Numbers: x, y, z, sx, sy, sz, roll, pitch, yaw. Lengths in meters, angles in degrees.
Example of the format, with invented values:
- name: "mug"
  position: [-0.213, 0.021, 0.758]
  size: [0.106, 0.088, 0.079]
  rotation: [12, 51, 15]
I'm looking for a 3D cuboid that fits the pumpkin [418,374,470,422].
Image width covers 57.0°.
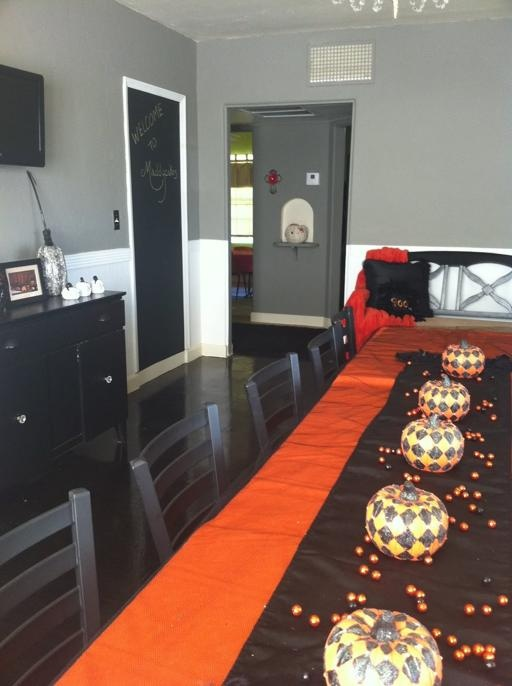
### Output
- name: "pumpkin"
  position: [0.603, 0.154, 1.514]
  size: [0.154, 0.184, 0.169]
  rotation: [-1, 4, 1]

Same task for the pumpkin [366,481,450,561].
- name: "pumpkin"
  position: [0.257, 0.281, 0.820]
  size: [0.124, 0.132, 0.136]
  rotation: [-1, 5, 7]

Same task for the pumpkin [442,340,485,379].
- name: "pumpkin"
  position: [0.830, 0.055, 1.914]
  size: [0.137, 0.162, 0.147]
  rotation: [0, 7, 28]

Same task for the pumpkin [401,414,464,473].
- name: "pumpkin"
  position: [0.449, 0.225, 1.215]
  size: [0.133, 0.149, 0.136]
  rotation: [-6, 7, -33]

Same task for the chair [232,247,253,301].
- name: "chair"
  position: [-0.298, -1.386, 9.302]
  size: [0.668, 0.993, 0.582]
  rotation: [-2, 10, -15]

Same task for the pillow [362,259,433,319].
- name: "pillow"
  position: [1.382, -0.551, 4.462]
  size: [0.528, 0.624, 0.175]
  rotation: [2, -11, -7]
